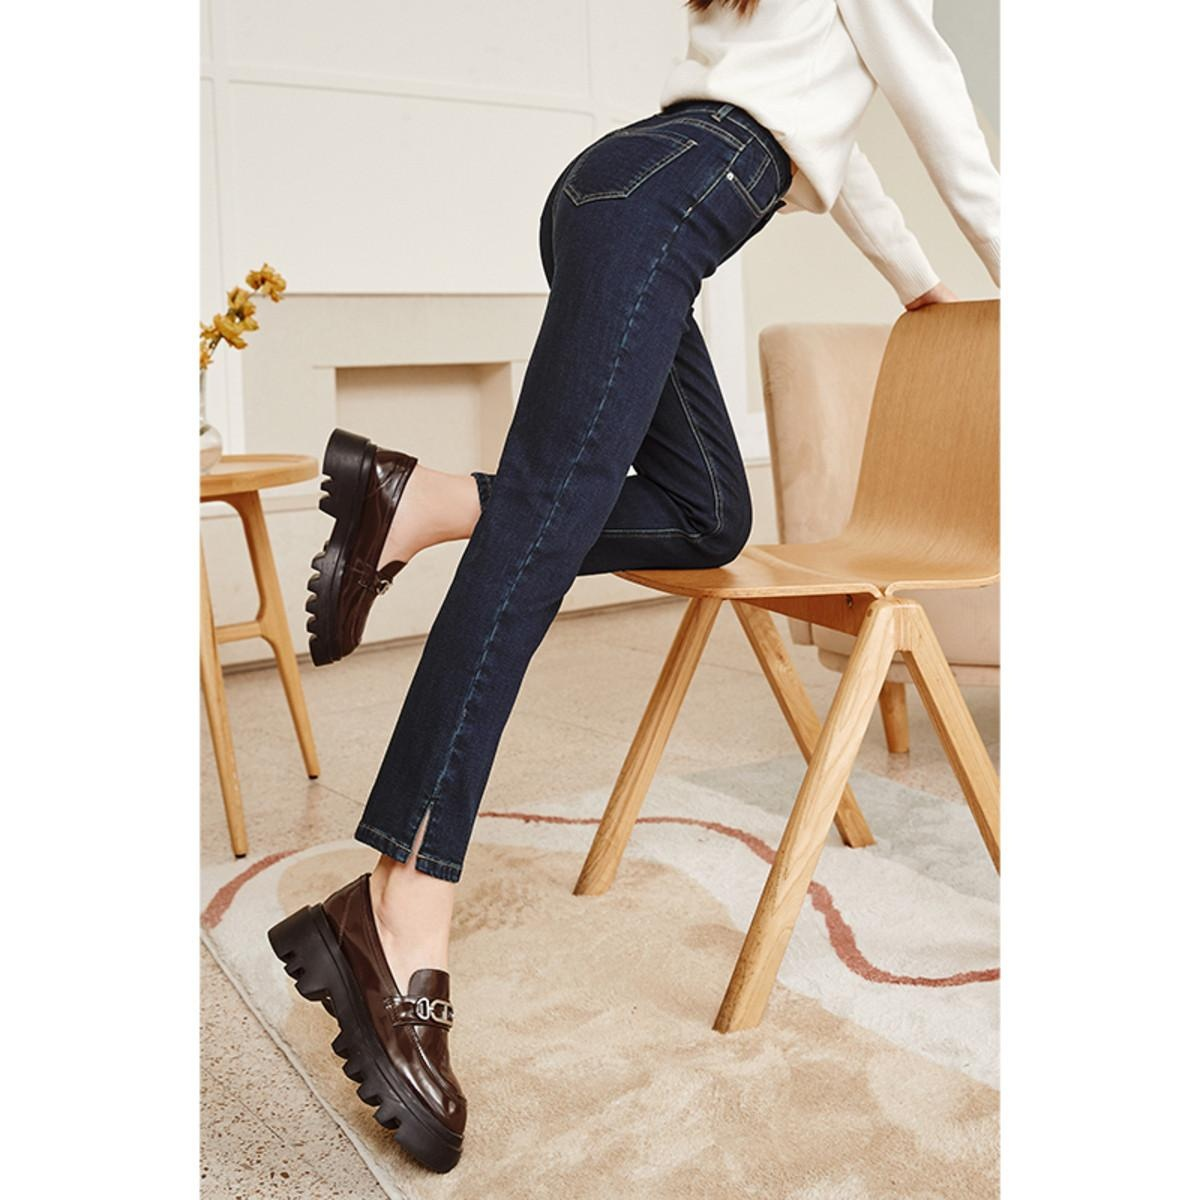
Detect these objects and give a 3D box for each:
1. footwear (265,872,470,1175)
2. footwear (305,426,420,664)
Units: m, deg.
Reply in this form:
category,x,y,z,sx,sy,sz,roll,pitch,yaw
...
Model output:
category,x,y,z,sx,sy,sz,roll,pitch,yaw
footwear,-0.171,0.326,0.995,0.125,0.256,0.093,-34,-15,3
footwear,-0.270,-0.062,1.377,0.143,0.274,0.105,13,7,0
